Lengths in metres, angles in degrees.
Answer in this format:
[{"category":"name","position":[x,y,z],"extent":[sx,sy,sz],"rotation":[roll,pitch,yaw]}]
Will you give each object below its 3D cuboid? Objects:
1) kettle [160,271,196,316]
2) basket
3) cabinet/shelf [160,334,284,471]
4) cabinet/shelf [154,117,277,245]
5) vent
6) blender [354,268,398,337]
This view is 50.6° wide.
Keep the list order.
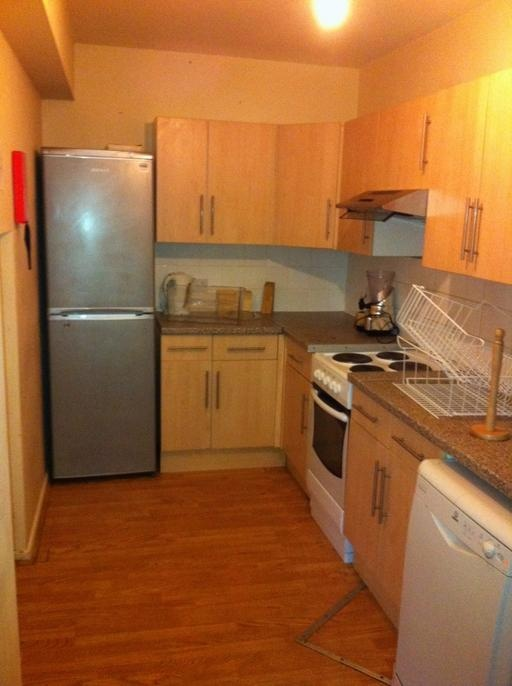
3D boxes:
[{"category":"kettle","position":[-0.543,-0.334,3.715],"extent":[0.211,0.285,0.232],"rotation":[0,8,-9]},{"category":"basket","position":[0.860,-0.056,2.478],"extent":[0.334,0.220,0.649],"rotation":[29,11,-13]},{"category":"cabinet/shelf","position":[-0.232,0.342,3.413],"extent":[0.801,0.954,0.483],"rotation":[-1,9,-9]},{"category":"cabinet/shelf","position":[-0.238,-1.040,3.543],"extent":[0.806,0.746,0.299],"rotation":[6,15,13]},{"category":"vent","position":[0.630,-0.636,2.566],"extent":[0.348,0.131,0.774],"rotation":[0,8,-13]},{"category":"blender","position":[0.736,-0.245,3.319],"extent":[0.263,0.381,0.248],"rotation":[6,9,27]}]
